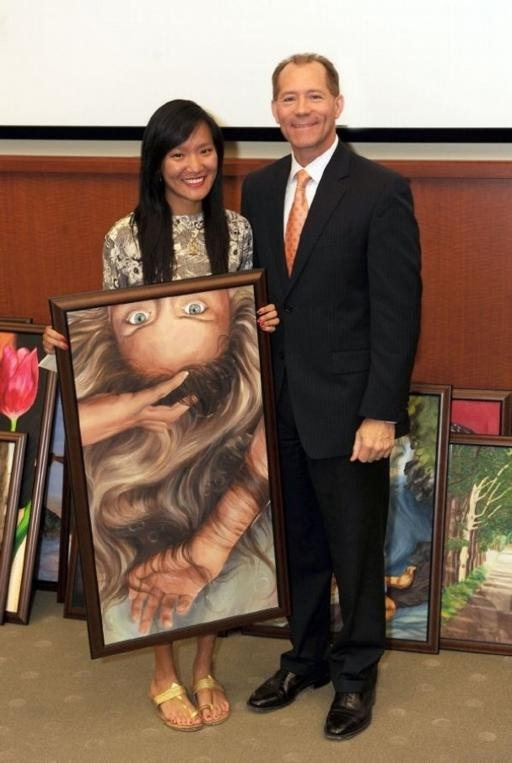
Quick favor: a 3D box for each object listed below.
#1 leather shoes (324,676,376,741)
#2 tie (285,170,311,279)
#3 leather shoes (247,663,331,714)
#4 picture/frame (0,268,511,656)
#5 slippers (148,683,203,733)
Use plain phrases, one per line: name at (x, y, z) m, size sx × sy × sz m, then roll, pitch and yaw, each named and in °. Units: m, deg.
leather shoes at (0.236, 0.831, 1.574) m, size 0.059 × 0.069 × 0.163 m, roll 1°, pitch 5°, yaw 24°
tie at (0.110, -0.386, 1.534) m, size 0.049 × 0.269 × 0.039 m, roll 10°, pitch -3°, yaw 10°
leather shoes at (0.085, 0.853, 1.763) m, size 0.240 × 0.106 × 0.081 m, roll -13°, pitch 15°, yaw -32°
picture/frame at (0.006, 0.267, 1.646) m, size 1.251 × 1.196 × 0.055 m, roll -2°, pitch 3°, yaw -18°
slippers at (-0.202, 0.839, 1.597) m, size 0.059 × 0.065 × 0.158 m, roll -10°, pitch 18°, yaw -26°
